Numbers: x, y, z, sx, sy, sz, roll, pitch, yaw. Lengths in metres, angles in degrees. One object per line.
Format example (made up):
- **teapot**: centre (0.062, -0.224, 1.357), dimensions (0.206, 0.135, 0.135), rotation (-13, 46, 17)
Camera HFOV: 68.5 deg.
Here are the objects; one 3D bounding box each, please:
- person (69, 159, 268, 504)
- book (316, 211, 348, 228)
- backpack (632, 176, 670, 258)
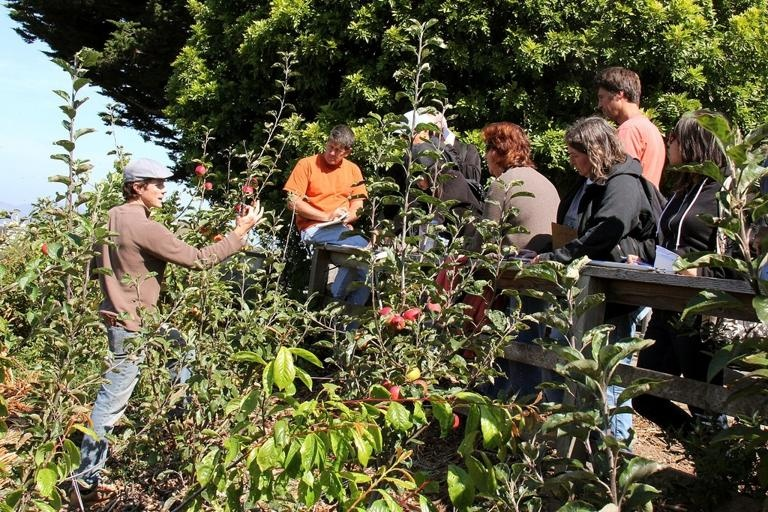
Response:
- **person**: centre (-1.642, 0.481, 4.069), dimensions (1.184, 2.349, 0.789), rotation (-5, 6, -31)
- **book**: centre (-0.555, -0.372, 5.922), dimensions (0.136, 0.028, 0.232), rotation (-42, 14, -35)
- **backpack**: centre (1.872, -0.258, 4.025), dimensions (0.160, 0.621, 0.674), rotation (1, 6, 34)
